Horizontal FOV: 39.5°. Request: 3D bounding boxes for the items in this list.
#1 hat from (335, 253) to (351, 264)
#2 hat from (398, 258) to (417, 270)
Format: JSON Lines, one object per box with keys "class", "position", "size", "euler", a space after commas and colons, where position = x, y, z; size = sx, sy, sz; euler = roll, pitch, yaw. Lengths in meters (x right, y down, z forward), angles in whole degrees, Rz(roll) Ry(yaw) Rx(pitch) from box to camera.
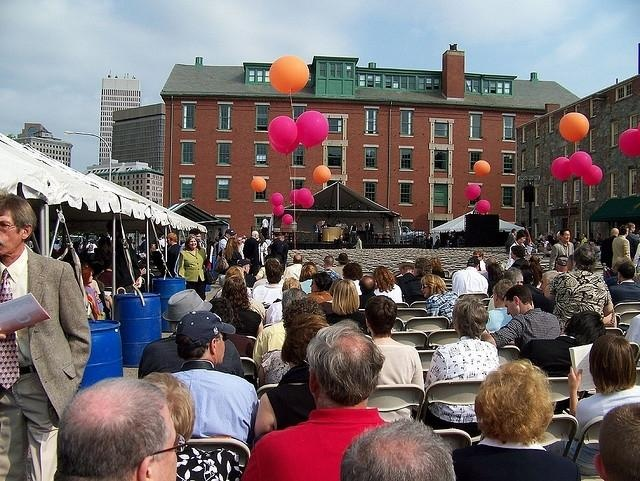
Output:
{"class": "hat", "position": [0.441, 0.395, 16.672], "size": [0.196, 0.149, 0.264], "euler": [2, 9, 2]}
{"class": "hat", "position": [1.772, 0.521, 18.042], "size": [0.358, 0.175, 0.458], "euler": [0, -2, -1]}
